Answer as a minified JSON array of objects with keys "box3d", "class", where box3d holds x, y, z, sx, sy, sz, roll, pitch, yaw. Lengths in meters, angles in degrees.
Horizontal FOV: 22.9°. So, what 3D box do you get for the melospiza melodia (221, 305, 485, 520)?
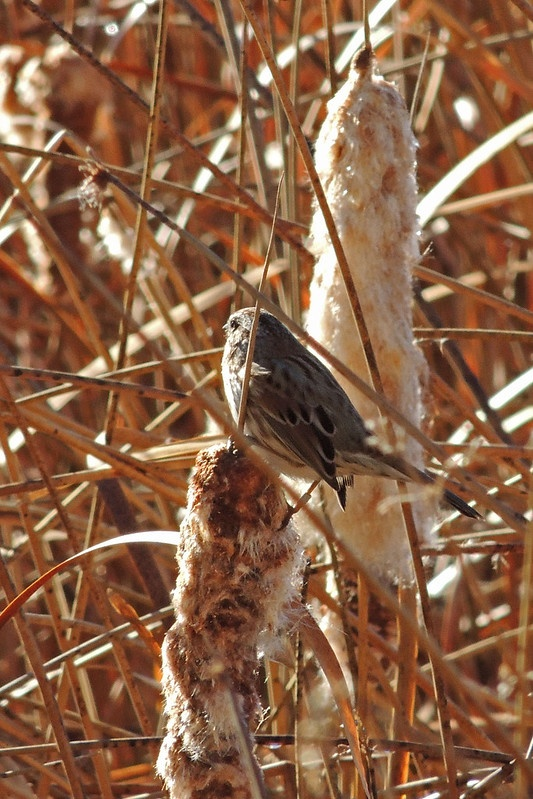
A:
[{"box3d":[0.264,0.047,4.336,0.991,0.574,0.280,16,17,24],"class":"melospiza melodia"}]
